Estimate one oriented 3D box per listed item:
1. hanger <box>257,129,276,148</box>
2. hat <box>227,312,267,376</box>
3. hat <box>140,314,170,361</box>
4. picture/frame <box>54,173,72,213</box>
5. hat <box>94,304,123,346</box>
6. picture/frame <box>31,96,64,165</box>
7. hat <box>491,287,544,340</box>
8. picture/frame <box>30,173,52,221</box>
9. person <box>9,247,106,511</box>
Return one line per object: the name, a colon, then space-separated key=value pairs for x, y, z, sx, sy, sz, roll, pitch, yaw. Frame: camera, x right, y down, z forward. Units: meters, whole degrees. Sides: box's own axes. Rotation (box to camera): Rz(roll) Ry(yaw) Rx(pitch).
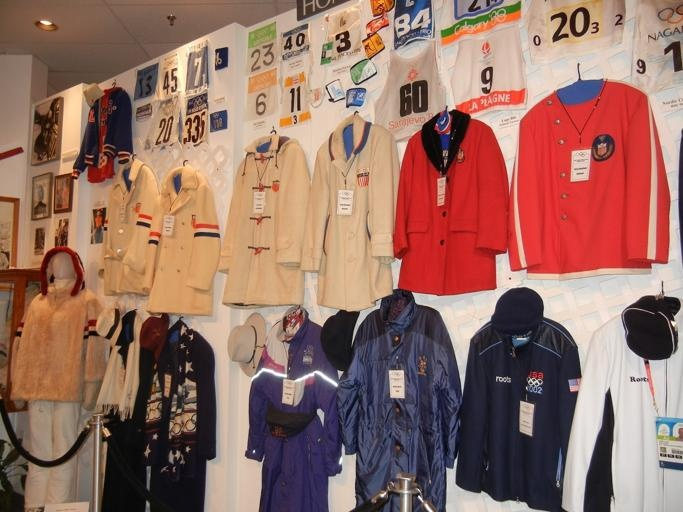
hanger: x=-0.626 y=-0.962 z=4.677 sx=0.066 sy=0.213 sz=0.130 roll=15 pitch=-6 yaw=-33
hat: x=-0.761 y=0.721 z=4.552 sx=0.148 sy=0.474 sz=0.358 roll=6 pitch=-14 yaw=-38
hat: x=-1.620 y=0.699 z=4.891 sx=0.228 sy=0.426 sz=0.095 roll=-5 pitch=-16 yaw=33
picture/frame: x=-3.001 y=-0.659 z=5.989 sx=0.343 sy=0.489 sz=0.028 roll=-6 pitch=-10 yaw=42
hat: x=-2.130 y=0.632 z=5.082 sx=0.217 sy=0.330 sz=0.195 roll=5 pitch=-12 yaw=-12
picture/frame: x=-3.322 y=-1.396 z=6.297 sx=0.096 sy=1.111 sz=0.700 roll=7 pitch=-5 yaw=-44
hat: x=1.163 y=0.369 z=3.667 sx=0.339 sy=0.325 sz=0.169 roll=-2 pitch=-12 yaw=16
picture/frame: x=-3.406 y=-0.654 z=6.306 sx=0.055 sy=0.625 sz=0.423 roll=8 pitch=-11 yaw=-43
person: x=-2.620 y=1.108 z=5.119 sx=0.829 sy=2.382 sz=0.389 roll=1 pitch=-11 yaw=4
